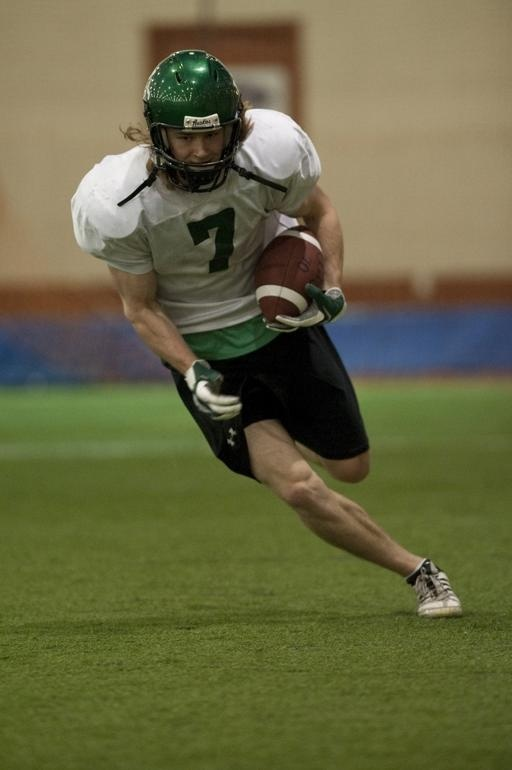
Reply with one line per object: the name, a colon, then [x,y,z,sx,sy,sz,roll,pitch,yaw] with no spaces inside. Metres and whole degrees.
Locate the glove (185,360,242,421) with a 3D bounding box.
glove: [-0.092,0.011,1.786,0.104,0.074,0.136,7,20,-16]

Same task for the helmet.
helmet: [-0.142,-0.624,1.722,0.225,0.183,0.248,-10,36,-10]

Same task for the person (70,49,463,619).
person: [-0.021,-0.043,1.899,0.632,1.269,0.807,-12,47,-10]

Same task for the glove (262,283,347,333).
glove: [0.113,-0.167,1.794,0.174,0.092,0.064,-11,79,6]
